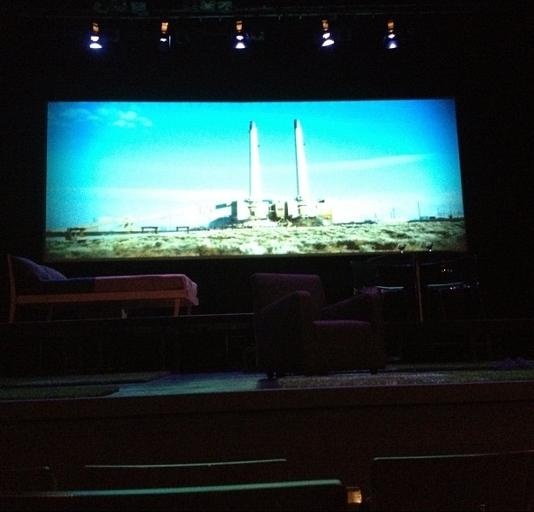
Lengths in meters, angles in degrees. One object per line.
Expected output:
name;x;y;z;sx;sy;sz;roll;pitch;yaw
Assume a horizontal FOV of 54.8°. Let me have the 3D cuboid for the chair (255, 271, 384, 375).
chair;0.278;0.390;2.885;0.646;0.580;0.735;0;-1;-11
